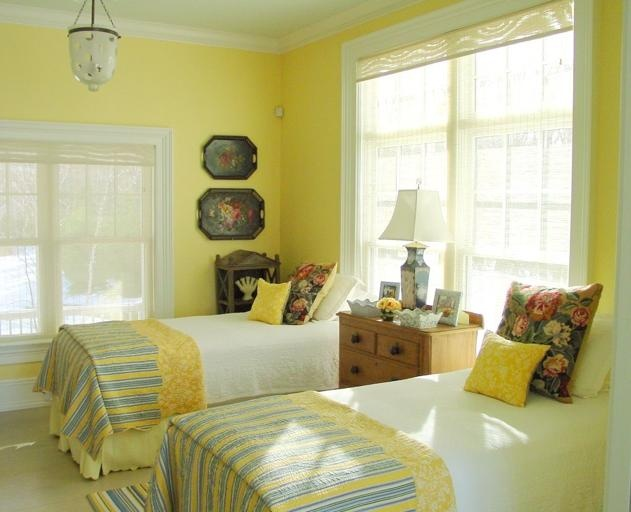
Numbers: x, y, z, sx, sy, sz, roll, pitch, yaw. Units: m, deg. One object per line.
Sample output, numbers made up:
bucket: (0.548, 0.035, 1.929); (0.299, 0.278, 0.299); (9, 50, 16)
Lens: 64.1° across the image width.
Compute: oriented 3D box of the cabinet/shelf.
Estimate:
cabinet/shelf: (-0.640, 0.413, 5.170); (0.575, 0.816, 0.285); (-3, -3, -23)

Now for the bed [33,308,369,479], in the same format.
bed: (-0.762, 0.867, 3.732); (1.756, 0.488, 1.052); (0, 0, -30)

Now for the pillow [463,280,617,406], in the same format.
pillow: (1.151, 0.374, 2.505); (0.200, 0.598, 0.645); (27, -8, -24)

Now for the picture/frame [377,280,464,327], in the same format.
picture/frame: (0.740, 0.286, 3.241); (0.348, 0.201, 0.307); (-1, 2, -36)

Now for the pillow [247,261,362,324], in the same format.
pillow: (-0.141, 0.340, 4.291); (0.672, 0.571, 0.203); (0, -33, 46)
